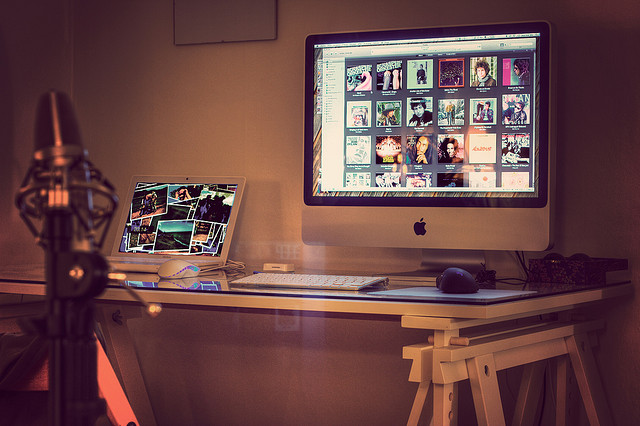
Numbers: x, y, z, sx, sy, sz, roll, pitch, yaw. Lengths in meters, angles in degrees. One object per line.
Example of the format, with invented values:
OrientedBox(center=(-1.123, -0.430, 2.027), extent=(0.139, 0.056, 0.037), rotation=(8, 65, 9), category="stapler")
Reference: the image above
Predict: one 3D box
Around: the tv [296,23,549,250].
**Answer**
OrientedBox(center=(0.348, -0.231, 1.638), extent=(0.758, 0.613, 0.066), rotation=(0, -4, 14), category="tv")

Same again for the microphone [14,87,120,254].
OrientedBox(center=(-0.464, -0.088, 0.934), extent=(0.147, 0.292, 0.258), rotation=(-3, 6, -31), category="microphone")

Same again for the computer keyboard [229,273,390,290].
OrientedBox(center=(-0.040, 0.193, 1.465), extent=(0.444, 0.029, 0.190), rotation=(1, 5, 14), category="computer keyboard")

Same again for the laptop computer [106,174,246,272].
OrientedBox(center=(-0.555, 0.033, 1.770), extent=(0.484, 0.320, 0.413), rotation=(2, 3, 12), category="laptop computer")

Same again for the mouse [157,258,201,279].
OrientedBox(center=(-0.426, 0.172, 1.637), extent=(0.078, 0.058, 0.165), rotation=(4, 6, 44), category="mouse")
